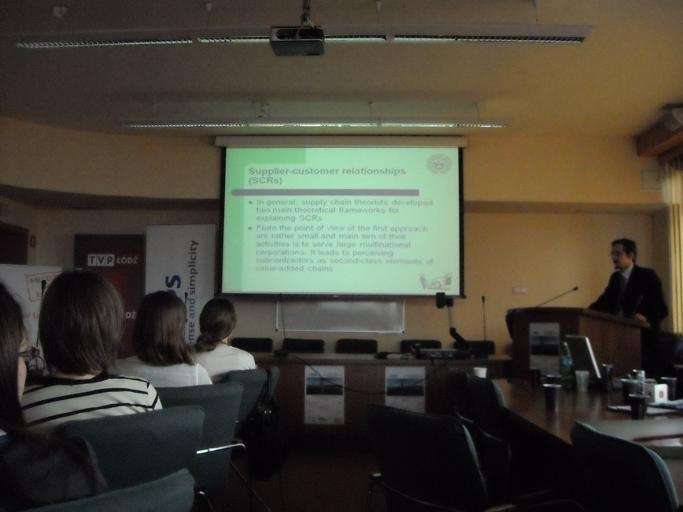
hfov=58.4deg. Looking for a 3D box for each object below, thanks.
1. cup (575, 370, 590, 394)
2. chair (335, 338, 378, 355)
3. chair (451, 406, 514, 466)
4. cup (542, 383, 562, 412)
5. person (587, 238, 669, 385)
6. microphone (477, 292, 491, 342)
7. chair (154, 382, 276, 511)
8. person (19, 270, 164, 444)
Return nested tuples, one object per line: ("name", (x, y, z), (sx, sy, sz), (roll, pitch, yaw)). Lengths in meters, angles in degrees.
("cup", (1.557, 0.807, 3.946), (0.113, 0.176, 0.121), (1, -5, 0))
("chair", (0.166, 1.002, 6.832), (0.437, 0.138, 0.154), (1, -5, -3))
("chair", (0.812, 1.069, 3.649), (0.321, 0.332, 0.241), (-1, -1, -7))
("cup", (1.234, 0.806, 3.484), (0.143, 0.175, 0.130), (3, -10, -4))
("person", (2.534, 0.449, 5.349), (0.547, 1.242, 2.366), (-2, -6, 27))
("microphone", (1.701, 0.718, 7.290), (0.084, 0.535, 0.194), (-1, -5, 12))
("chair", (-0.696, 1.018, 3.543), (0.557, 0.768, 0.599), (1, -1, -3))
("person", (-1.238, 0.482, 2.940), (0.778, 0.794, 0.356), (3, 10, -1))
